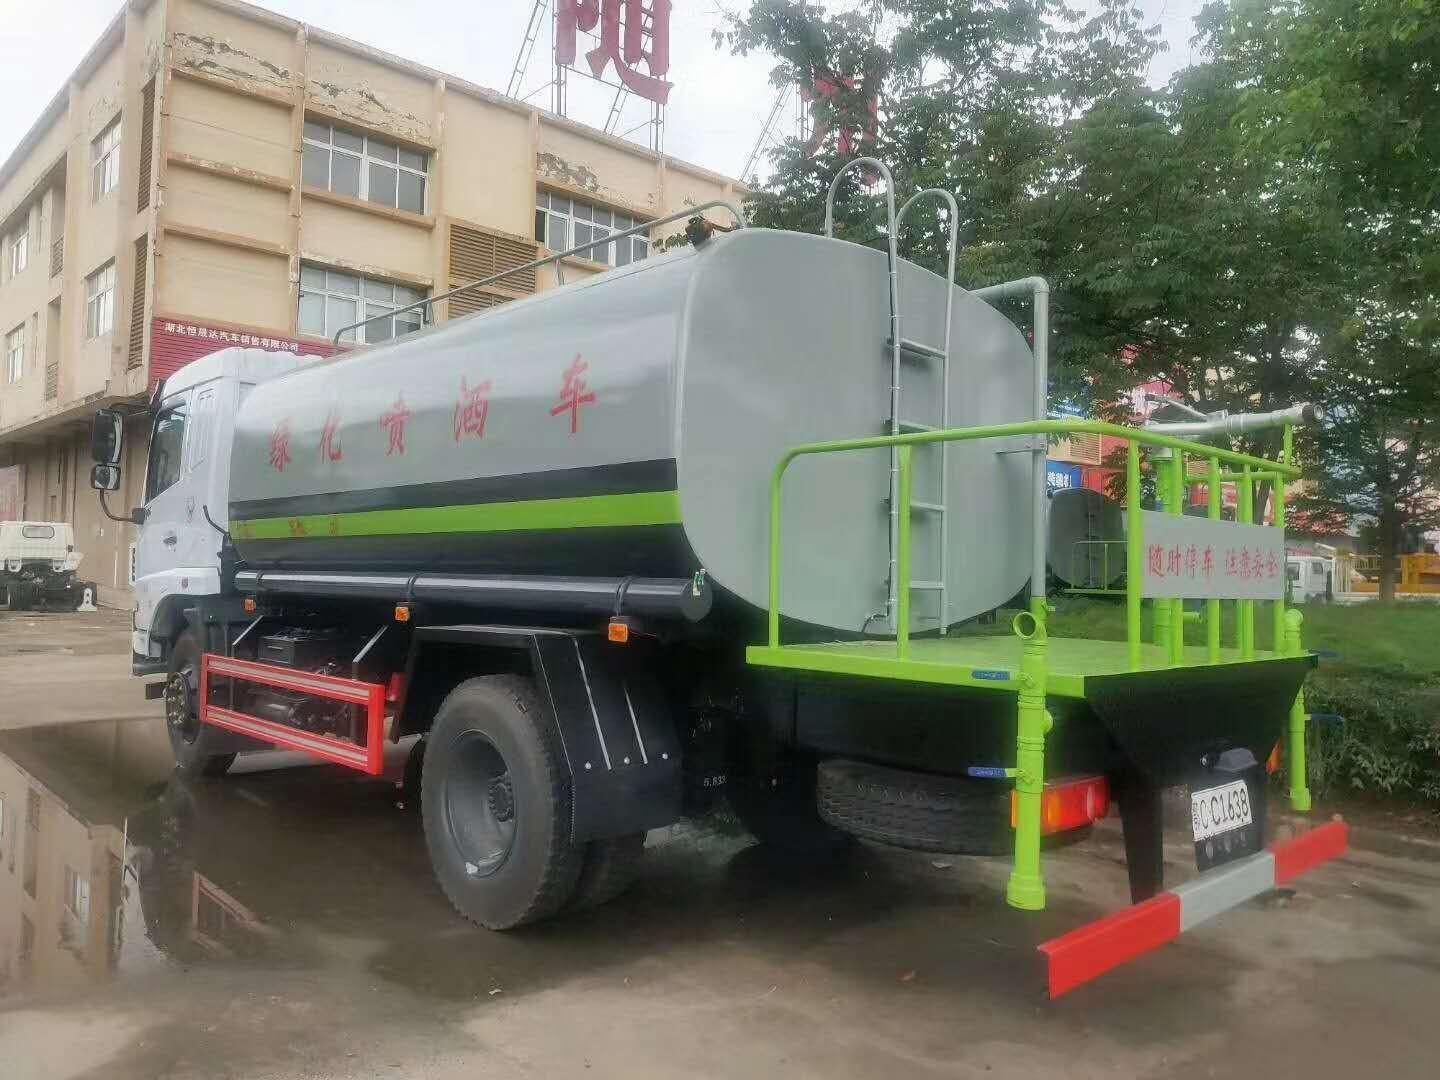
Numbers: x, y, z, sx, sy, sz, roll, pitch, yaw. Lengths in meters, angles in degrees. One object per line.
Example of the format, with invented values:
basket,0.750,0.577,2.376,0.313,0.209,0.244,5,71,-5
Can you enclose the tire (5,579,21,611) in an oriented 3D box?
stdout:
tire,-15.813,1.187,24.799,0.218,0.685,0.603,-1,3,-41

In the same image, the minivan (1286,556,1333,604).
minivan,13.656,0.903,25.499,0.964,1.063,1.589,1,1,-16

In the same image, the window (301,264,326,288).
window,-8.285,-5.400,22.538,0.064,0.367,0.478,2,2,30

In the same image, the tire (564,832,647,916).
tire,-0.595,1.720,5.738,0.420,0.204,0.372,-33,-25,21

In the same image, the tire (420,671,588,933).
tire,-1.092,1.388,5.793,0.372,1.206,1.076,4,-11,-38

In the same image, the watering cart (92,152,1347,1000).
watering cart,-1.142,0.111,7.528,7.988,3.828,2.772,0,-3,36

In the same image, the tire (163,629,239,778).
tire,-3.992,1.269,8.571,0.351,0.933,0.752,3,-26,-38

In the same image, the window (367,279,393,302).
window,-7.259,-5.341,23.605,0.063,0.359,0.447,4,1,41

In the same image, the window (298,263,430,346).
window,-7.548,-4.841,23.317,2.719,1.402,0.105,2,2,-39
